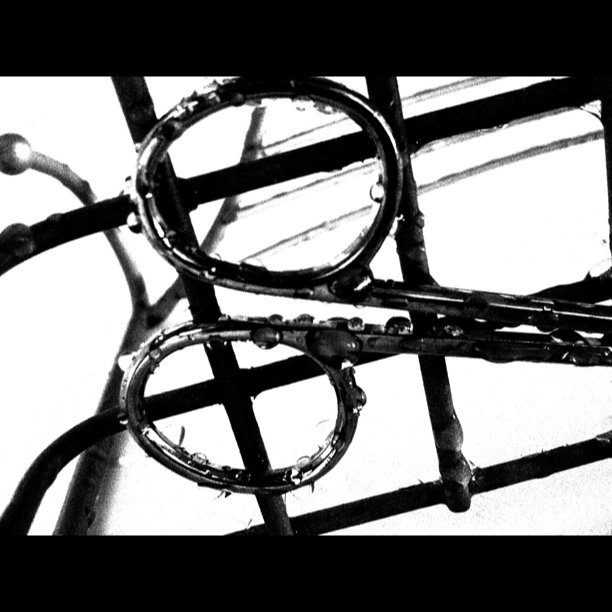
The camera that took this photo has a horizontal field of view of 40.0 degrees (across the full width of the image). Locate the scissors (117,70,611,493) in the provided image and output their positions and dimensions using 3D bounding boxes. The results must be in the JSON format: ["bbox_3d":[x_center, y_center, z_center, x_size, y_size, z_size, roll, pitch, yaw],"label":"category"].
[{"bbox_3d":[0.031,-0.042,0.835,0.504,0.182,0.380,-15,-50,7],"label":"scissors"}]
